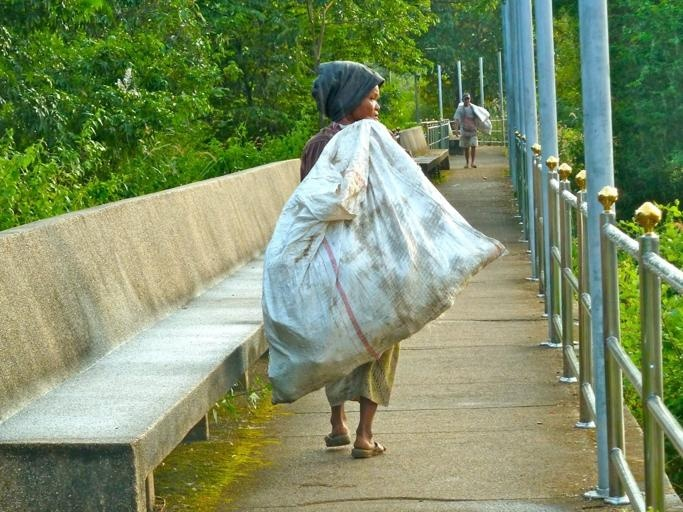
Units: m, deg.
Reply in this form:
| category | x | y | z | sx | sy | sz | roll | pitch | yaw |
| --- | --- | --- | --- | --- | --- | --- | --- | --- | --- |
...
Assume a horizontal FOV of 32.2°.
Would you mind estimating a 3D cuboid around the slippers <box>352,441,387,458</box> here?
| category | x | y | z | sx | sy | sz | roll | pitch | yaw |
| --- | --- | --- | --- | --- | --- | --- | --- | --- | --- |
| slippers | 0.178 | 1.219 | 7.521 | 0.085 | 0.079 | 0.197 | 5 | 6 | 41 |

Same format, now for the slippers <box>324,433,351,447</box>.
| category | x | y | z | sx | sy | sz | roll | pitch | yaw |
| --- | --- | --- | --- | --- | --- | --- | --- | --- | --- |
| slippers | -0.014 | 1.179 | 7.615 | 0.137 | 0.060 | 0.082 | -4 | 1 | 42 |

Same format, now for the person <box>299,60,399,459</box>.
| category | x | y | z | sx | sy | sz | roll | pitch | yaw |
| --- | --- | --- | --- | --- | --- | --- | --- | --- | --- |
| person | 0.055 | 0.018 | 7.506 | 0.557 | 2.437 | 0.722 | -3 | 14 | -2 |
